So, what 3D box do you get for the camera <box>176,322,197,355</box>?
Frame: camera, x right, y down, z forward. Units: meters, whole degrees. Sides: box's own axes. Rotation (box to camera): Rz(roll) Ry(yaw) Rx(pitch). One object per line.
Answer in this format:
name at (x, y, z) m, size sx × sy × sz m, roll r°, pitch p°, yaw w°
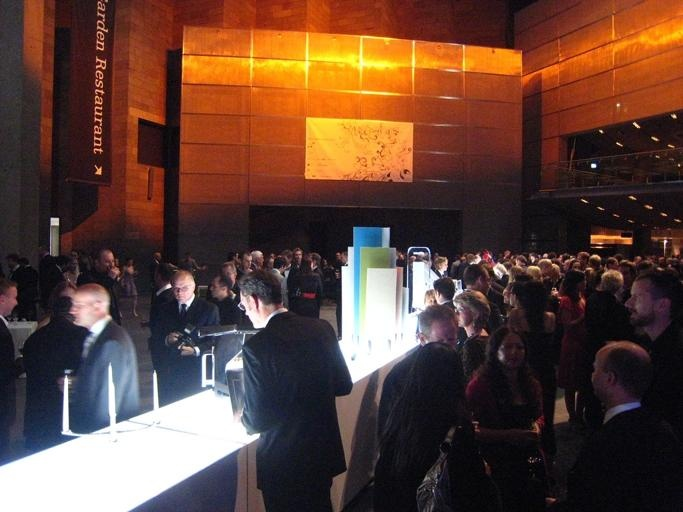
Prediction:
camera at (-1.465, 0.780, 5.912) m, size 0.264 × 0.285 × 0.122 m, roll 12°, pitch -2°, yaw 43°
